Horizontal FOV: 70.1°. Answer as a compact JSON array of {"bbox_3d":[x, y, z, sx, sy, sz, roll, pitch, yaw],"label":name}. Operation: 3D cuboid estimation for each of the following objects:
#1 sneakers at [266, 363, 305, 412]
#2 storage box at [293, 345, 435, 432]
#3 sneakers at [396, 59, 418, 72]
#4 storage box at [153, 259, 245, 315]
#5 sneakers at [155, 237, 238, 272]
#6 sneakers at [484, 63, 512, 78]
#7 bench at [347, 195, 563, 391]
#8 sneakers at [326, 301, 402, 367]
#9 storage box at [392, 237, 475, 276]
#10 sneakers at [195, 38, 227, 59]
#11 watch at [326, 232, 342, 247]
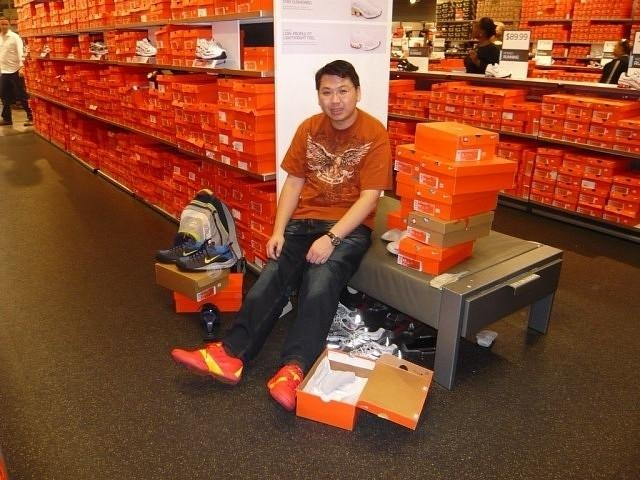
[{"bbox_3d":[-0.158,0.711,2.138,0.170,0.207,0.177,-1,26,-3],"label":"sneakers"},{"bbox_3d":[0.221,0.703,2.174,0.409,0.133,0.408,15,31,16],"label":"storage box"},{"bbox_3d":[1.165,-2.345,6.176,0.302,0.127,0.190,15,61,26],"label":"sneakers"},{"bbox_3d":[-0.800,0.247,2.949,0.401,0.232,0.387,-7,12,-36],"label":"storage box"},{"bbox_3d":[-0.773,0.100,2.851,0.344,0.111,0.246,3,9,-19],"label":"sneakers"},{"bbox_3d":[1.908,-1.811,4.885,0.164,0.073,0.205,-21,31,-30],"label":"sneakers"},{"bbox_3d":[0.827,0.190,2.473,0.957,0.439,0.925,-20,35,-35],"label":"bench"},{"bbox_3d":[0.243,0.560,2.620,0.394,0.078,0.230,17,49,-12],"label":"sneakers"},{"bbox_3d":[0.642,0.035,2.422,0.293,0.100,0.218,-17,26,-37],"label":"storage box"},{"bbox_3d":[-0.806,-1.398,3.350,0.302,0.135,0.132,22,44,32],"label":"sneakers"},{"bbox_3d":[0.072,-0.004,2.440,0.037,0.054,0.052,-46,67,-5],"label":"watch"}]
